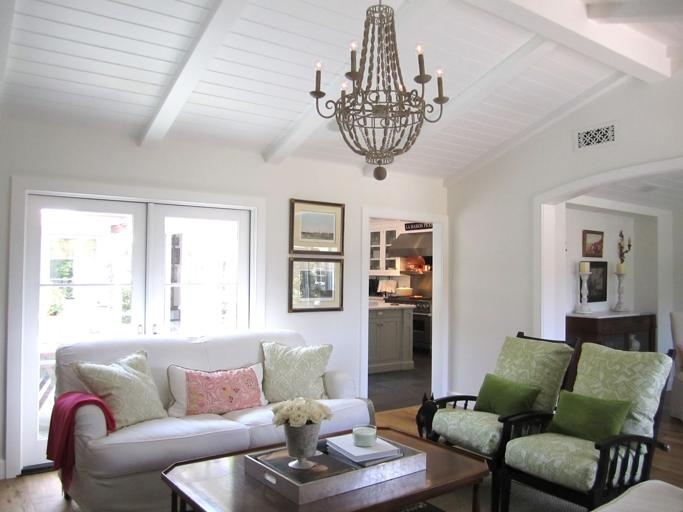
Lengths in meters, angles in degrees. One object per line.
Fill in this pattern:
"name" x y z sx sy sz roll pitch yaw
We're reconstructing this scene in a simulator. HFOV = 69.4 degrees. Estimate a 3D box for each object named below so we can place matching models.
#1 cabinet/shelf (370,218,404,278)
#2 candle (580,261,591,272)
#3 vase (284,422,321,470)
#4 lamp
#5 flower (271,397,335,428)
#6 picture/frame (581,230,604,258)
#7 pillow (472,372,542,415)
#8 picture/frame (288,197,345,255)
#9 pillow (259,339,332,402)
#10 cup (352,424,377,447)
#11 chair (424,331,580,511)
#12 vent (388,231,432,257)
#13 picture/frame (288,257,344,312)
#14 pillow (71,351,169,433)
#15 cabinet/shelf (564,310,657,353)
"cabinet/shelf" 0.949 -0.098 11.007 0.639 1.025 0.274 -1 -9 12
"candle" 3.210 0.151 6.463 0.148 0.134 0.122 -1 -3 4
"vase" -0.226 1.100 2.896 0.230 0.249 0.234 0 -9 -8
"lamp" 0.311 -1.113 3.405 0.737 1.357 1.855 -1 -3 8
"flower" -0.225 0.911 2.866 0.336 0.145 0.164 -1 -3 -7
"picture/frame" 3.457 -0.163 6.779 0.359 0.359 0.012 5 -2 -28
"pillow" 1.326 1.129 4.127 0.511 0.324 0.193 8 -10 -8
"picture/frame" -0.292 -0.308 5.243 0.606 0.525 0.061 2 -4 -28
"pillow" -0.414 1.019 4.308 0.455 0.425 0.174 3 -20 -12
"cup" 0.146 1.099 3.007 0.111 0.073 0.112 2 -6 0
"chair" 1.348 1.272 4.485 1.375 1.397 0.968 4 -8 -33
"vent" 1.474 -0.216 10.150 0.468 0.467 0.907 14 -12 -39
"picture/frame" -0.266 0.303 5.256 0.641 0.564 0.039 2 -3 -28
"pillow" -1.639 1.034 3.776 0.331 0.565 0.594 -12 -7 22
"cabinet/shelf" 3.517 1.094 6.356 1.222 0.711 0.338 0 1 -28
